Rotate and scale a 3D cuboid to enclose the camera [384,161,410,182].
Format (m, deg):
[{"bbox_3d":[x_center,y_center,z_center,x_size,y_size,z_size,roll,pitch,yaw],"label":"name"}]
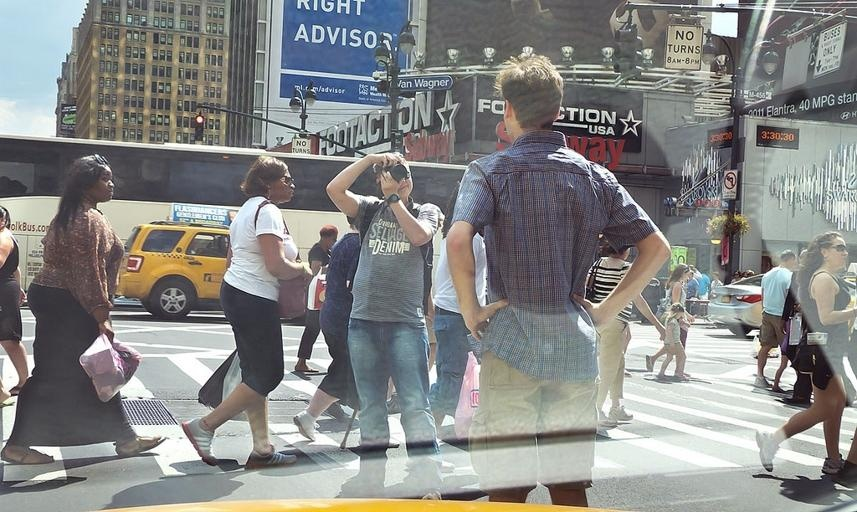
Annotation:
[{"bbox_3d":[-0.330,-0.875,8.343,0.271,0.156,0.263,1,3,-19],"label":"camera"}]

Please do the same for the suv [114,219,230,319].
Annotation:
[{"bbox_3d":[-6.461,0.288,21.252,4.805,2.411,2.899,-3,3,-20],"label":"suv"}]

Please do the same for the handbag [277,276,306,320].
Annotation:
[{"bbox_3d":[-1.549,0.436,8.757,0.469,0.580,0.304,1,-5,-5],"label":"handbag"}]
